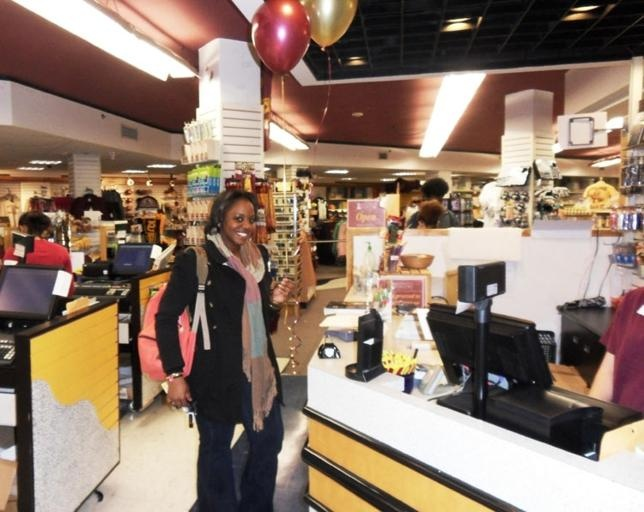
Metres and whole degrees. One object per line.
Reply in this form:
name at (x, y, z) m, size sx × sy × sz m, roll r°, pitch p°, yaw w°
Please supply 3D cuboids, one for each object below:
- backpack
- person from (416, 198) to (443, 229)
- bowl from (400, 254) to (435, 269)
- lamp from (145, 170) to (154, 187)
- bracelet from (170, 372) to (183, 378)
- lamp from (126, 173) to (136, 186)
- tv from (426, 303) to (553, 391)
backpack at (-0.834, 0.363, 2.835) m, size 0.391 × 0.797 × 0.329 m, roll -2°, pitch 8°, yaw -19°
person at (1.369, -0.537, 6.330) m, size 0.297 × 0.362 × 0.761 m, roll 2°, pitch 8°, yaw 8°
bowl at (0.744, 0.041, 4.042) m, size 0.220 × 0.120 × 0.229 m, roll 1°, pitch 8°, yaw 0°
lamp at (-5.410, -2.395, 15.435) m, size 0.272 × 0.459 × 0.468 m, roll 1°, pitch 0°, yaw -11°
bracelet at (-0.789, 0.635, 2.699) m, size 0.035 × 0.021 × 0.041 m, roll -3°, pitch 1°, yaw -39°
lamp at (-5.618, -2.284, 14.701) m, size 0.278 × 0.319 × 0.631 m, roll 6°, pitch -11°, yaw -19°
tv at (0.750, 0.469, 2.383) m, size 0.364 × 0.475 × 0.544 m, roll -6°, pitch 11°, yaw -40°
